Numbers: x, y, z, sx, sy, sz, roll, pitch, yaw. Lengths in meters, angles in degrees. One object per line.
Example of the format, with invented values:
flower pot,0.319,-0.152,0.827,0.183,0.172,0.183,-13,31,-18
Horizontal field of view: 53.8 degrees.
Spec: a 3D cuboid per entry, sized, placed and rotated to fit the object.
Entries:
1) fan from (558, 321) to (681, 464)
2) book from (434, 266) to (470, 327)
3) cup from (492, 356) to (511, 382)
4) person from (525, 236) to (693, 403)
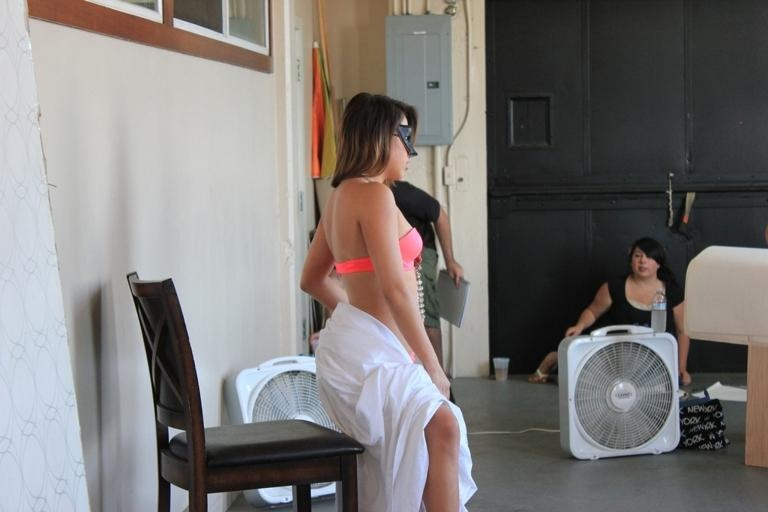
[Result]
fan,1.398,0.843,4.492,0.677,0.822,0.284,-1,1,-6
book,0.465,0.273,5.313,0.025,0.307,0.407,4,11,-18
cup,0.974,0.929,6.302,0.117,0.191,0.206,0,7,8
person,1.885,0.761,6.390,1.599,1.383,0.986,-1,-3,28
